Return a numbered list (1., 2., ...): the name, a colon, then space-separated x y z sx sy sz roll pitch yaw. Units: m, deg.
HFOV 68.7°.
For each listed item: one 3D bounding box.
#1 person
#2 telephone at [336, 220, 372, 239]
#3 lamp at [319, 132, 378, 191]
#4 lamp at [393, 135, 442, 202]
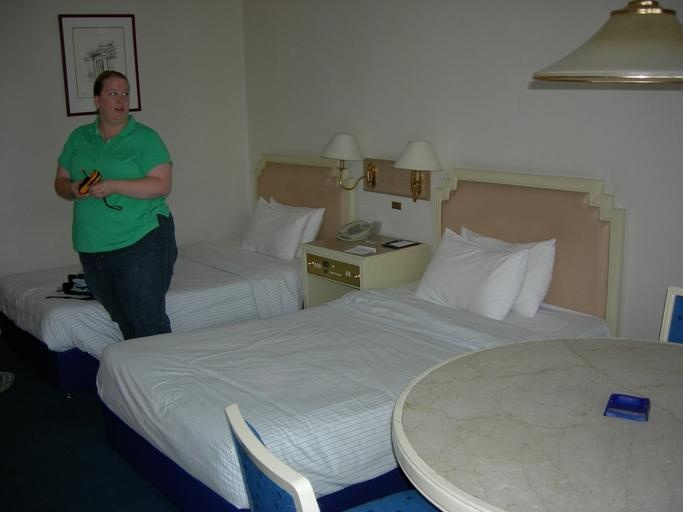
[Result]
1. person: -1.470 -0.284 3.219 0.726 1.719 0.469 7 18 15
2. telephone: 0.146 -0.231 4.432 0.224 0.082 0.172 -15 21 -41
3. lamp: 0.065 -0.832 4.429 0.516 0.470 0.385 9 8 27
4. lamp: 0.602 -0.685 3.933 0.374 0.496 0.420 -2 11 -16
